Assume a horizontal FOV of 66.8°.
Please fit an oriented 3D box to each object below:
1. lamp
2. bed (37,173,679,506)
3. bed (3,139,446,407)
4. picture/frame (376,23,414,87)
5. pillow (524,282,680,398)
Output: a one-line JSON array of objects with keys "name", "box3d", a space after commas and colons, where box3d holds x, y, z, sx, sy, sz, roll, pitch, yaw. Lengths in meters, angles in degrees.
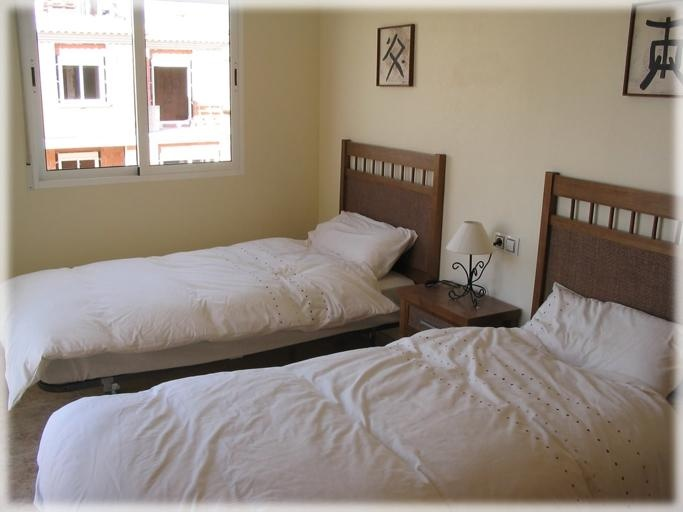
[{"name": "lamp", "box3d": [0.804, -0.014, 3.342, 0.439, 0.500, 0.511, -9, 19, -32]}, {"name": "bed", "box3d": [0.116, 0.218, 1.830, 1.883, 0.592, 1.106, -12, 23, -33]}, {"name": "bed", "box3d": [-0.714, 0.180, 3.509, 2.426, 1.267, 1.585, -8, 25, -26]}, {"name": "picture/frame", "box3d": [0.398, -1.471, 3.780, 0.046, 0.492, 0.467, -4, 10, -30]}, {"name": "pillow", "box3d": [1.240, 0.399, 2.433, 0.164, 0.358, 0.601, 31, 0, -32]}]
